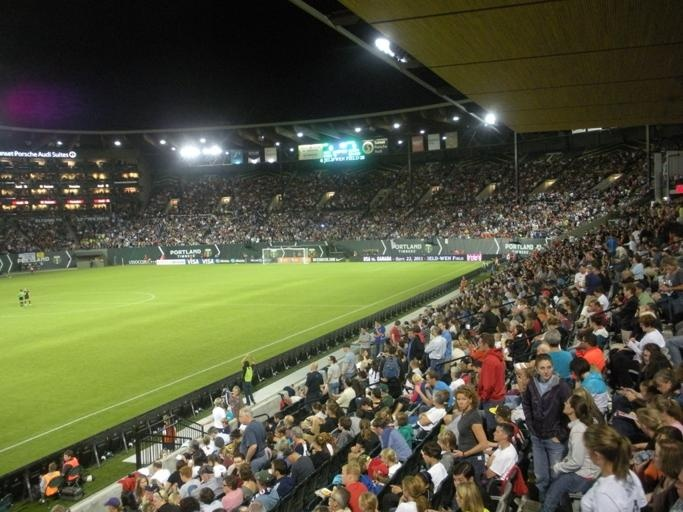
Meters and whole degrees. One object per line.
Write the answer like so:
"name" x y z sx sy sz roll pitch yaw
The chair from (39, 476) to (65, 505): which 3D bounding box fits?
"chair" -6.615 5.348 12.318 0.490 0.566 0.227 -1 -8 1
